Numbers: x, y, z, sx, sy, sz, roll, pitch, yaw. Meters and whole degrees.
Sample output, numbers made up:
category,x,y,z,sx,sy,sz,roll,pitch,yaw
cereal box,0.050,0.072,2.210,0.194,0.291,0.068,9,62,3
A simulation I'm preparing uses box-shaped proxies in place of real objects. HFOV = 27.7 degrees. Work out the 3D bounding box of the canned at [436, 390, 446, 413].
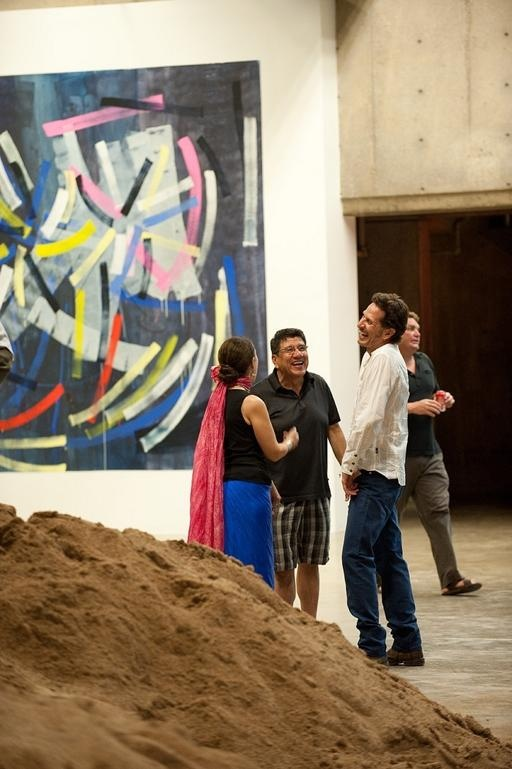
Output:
category,x,y,z,sx,sy,sz,roll,pitch,yaw
canned,0.958,0.086,5.386,0.054,0.095,0.198,-2,3,9

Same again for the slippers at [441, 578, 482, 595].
category,x,y,z,sx,sy,sz,roll,pitch,yaw
slippers,1.114,1.106,5.683,0.227,0.087,0.085,-14,-4,25

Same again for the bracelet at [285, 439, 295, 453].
category,x,y,z,sx,sy,sz,roll,pitch,yaw
bracelet,0.132,0.249,4.113,0.032,0.042,0.039,-1,-12,-1

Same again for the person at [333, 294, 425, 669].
category,x,y,z,sx,sy,sz,roll,pitch,yaw
person,0.477,0.407,4.221,0.284,1.540,0.471,0,4,33

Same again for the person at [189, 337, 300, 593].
category,x,y,z,sx,sy,sz,roll,pitch,yaw
person,-0.059,0.298,4.078,0.420,0.958,0.296,-2,4,7
